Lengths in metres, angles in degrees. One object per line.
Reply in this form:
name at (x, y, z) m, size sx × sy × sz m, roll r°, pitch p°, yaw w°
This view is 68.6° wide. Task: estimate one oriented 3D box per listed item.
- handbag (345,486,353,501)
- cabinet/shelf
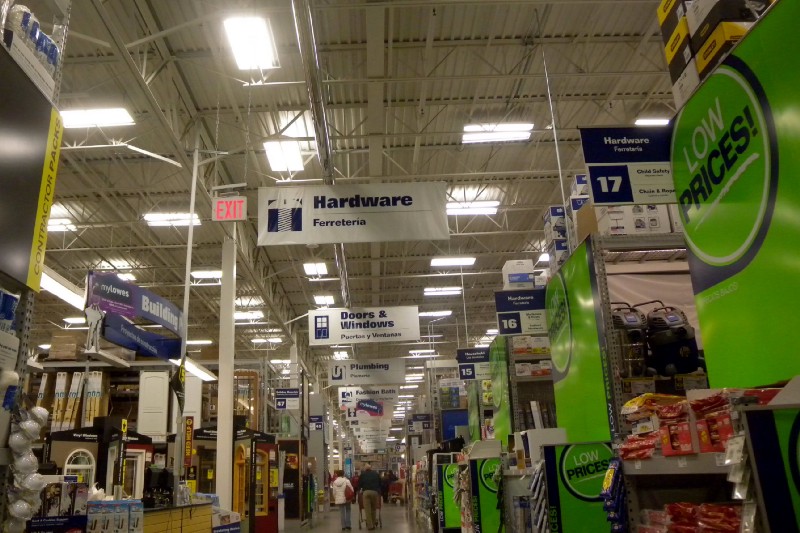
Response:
handbag at (-1.249, 5.726, 14.829) m, size 0.089 × 0.355 × 0.457 m, roll -7°, pitch -26°, yaw 12°
cabinet/shelf at (2.017, 0.749, 6.157) m, size 1.701 × 3.328 × 1.566 m, roll -2°, pitch -6°, yaw 1°
